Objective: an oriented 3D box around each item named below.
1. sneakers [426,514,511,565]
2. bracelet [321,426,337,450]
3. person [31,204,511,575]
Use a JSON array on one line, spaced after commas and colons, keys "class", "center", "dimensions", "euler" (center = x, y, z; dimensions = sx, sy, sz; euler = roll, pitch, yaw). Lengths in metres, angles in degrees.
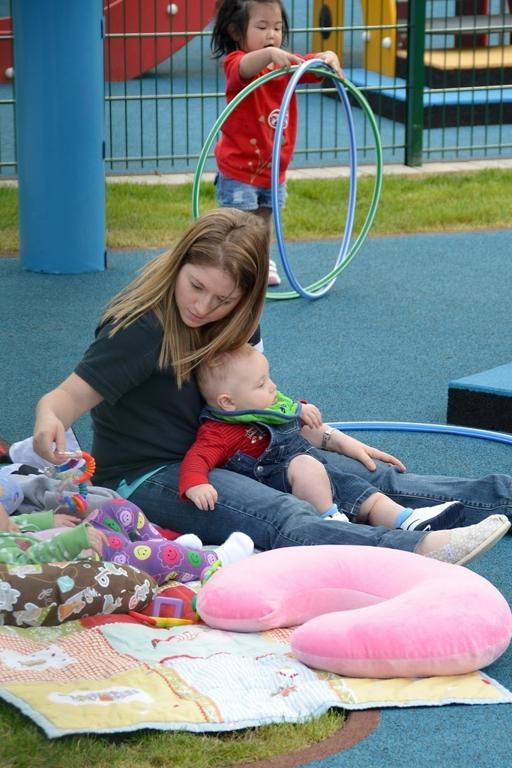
[{"class": "sneakers", "center": [0.469, 0.348, 1.628], "dimensions": [0.160, 0.062, 0.053], "euler": [-36, 5, 5]}, {"class": "bracelet", "center": [0.206, 0.154, 2.064], "dimensions": [0.034, 0.053, 0.050], "euler": [18, 54, 30]}, {"class": "person", "center": [-0.036, 0.010, 1.815], "dimensions": [1.112, 0.739, 0.837], "euler": [10, 19, 20]}]
